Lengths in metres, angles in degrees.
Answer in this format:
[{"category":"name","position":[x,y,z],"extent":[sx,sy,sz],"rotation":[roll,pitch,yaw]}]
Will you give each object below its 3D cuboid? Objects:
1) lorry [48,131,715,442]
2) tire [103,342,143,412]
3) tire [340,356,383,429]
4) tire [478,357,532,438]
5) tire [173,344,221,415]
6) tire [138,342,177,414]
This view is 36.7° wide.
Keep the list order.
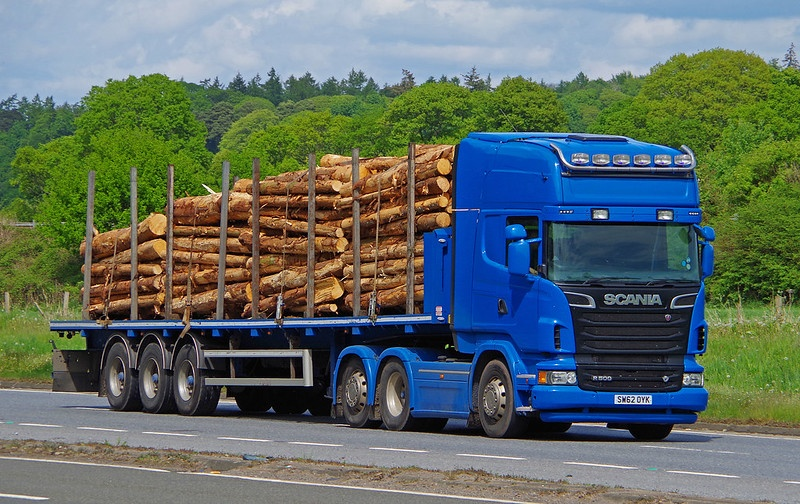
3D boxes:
[{"category":"lorry","position":[-1.070,0.965,31.290],"extent":[6.567,7.179,19.010],"rotation":[1,-3,-43]},{"category":"tire","position":[-7.439,3.410,32.730],"extent":[0.669,2.110,1.848],"rotation":[-1,0,-30]},{"category":"tire","position":[-0.827,3.209,27.449],"extent":[0.572,1.882,1.599],"rotation":[3,-1,-36]},{"category":"tire","position":[2.196,3.015,25.085],"extent":[0.697,1.965,1.646],"rotation":[0,1,-32]},{"category":"tire","position":[-5.170,3.280,31.028],"extent":[0.691,2.047,1.785],"rotation":[0,1,-35]},{"category":"tire","position":[-6.345,3.373,31.918],"extent":[0.690,2.097,1.832],"rotation":[-1,1,-33]}]
